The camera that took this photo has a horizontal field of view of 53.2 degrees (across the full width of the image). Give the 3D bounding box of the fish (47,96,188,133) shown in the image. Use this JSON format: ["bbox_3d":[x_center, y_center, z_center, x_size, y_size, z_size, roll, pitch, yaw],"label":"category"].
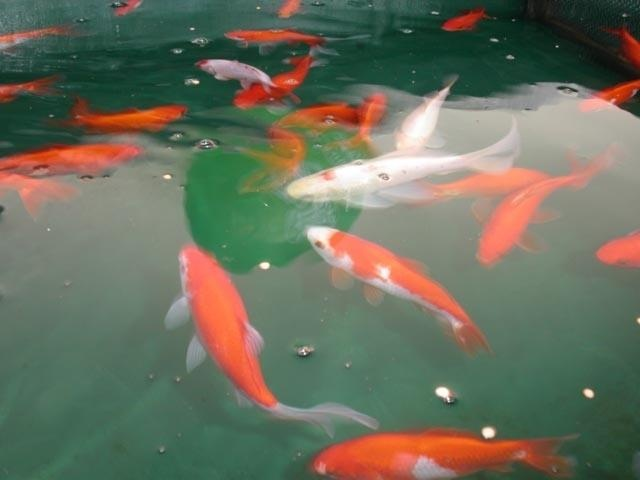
[{"bbox_3d":[-0.640,-0.401,2.131,0.417,0.132,0.145,-7,17,-4],"label":"fish"}]

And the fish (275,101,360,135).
[{"bbox_3d":[0.005,-0.405,2.118,0.323,0.098,0.140,-8,9,-6],"label":"fish"}]

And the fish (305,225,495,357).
[{"bbox_3d":[0.200,0.099,1.804,0.582,0.227,0.188,32,59,9],"label":"fish"}]

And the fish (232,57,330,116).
[{"bbox_3d":[-0.102,-0.556,2.272,0.182,0.126,0.381,6,33,46],"label":"fish"}]

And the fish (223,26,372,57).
[{"bbox_3d":[-0.096,-0.767,2.494,0.470,0.107,0.122,3,61,1],"label":"fish"}]

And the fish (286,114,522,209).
[{"bbox_3d":[0.269,-0.211,1.945,0.744,0.238,0.171,-13,26,-15],"label":"fish"}]

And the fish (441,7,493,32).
[{"bbox_3d":[0.597,-0.894,2.610,0.204,0.050,0.083,-26,75,-5],"label":"fish"}]

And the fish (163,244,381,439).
[{"bbox_3d":[-0.155,0.266,1.638,0.310,0.214,0.564,11,54,-43],"label":"fish"}]
